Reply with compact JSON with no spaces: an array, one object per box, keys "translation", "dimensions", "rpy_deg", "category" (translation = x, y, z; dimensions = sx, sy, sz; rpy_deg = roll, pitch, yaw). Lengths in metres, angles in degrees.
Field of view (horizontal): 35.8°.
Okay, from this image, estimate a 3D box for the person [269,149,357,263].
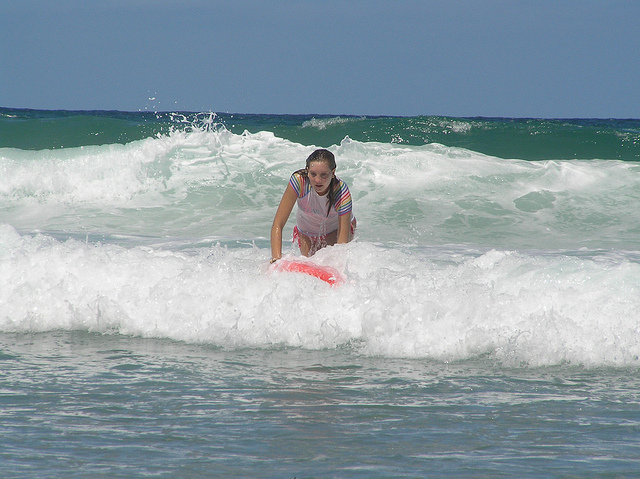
[{"translation":[-0.068,-0.275,9.812],"dimensions":[0.778,1.345,0.743],"rpy_deg":[7,63,-7],"category":"person"}]
